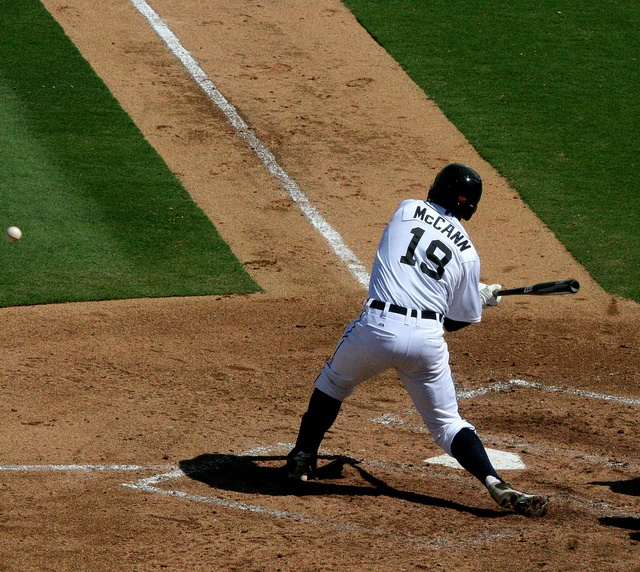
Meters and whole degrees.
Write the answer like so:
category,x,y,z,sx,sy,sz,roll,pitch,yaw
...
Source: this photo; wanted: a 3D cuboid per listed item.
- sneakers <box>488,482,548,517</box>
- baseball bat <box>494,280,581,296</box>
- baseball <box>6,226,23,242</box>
category,x,y,z,sx,sy,sz,roll,pitch,yaw
sneakers,1.850,1.970,14.470,0.694,0.240,0.188,8,68,1
baseball bat,2.302,0.009,16.483,1.254,0.119,0.164,-4,0,18
baseball,-3.598,-0.621,18.407,0.144,0.167,0.135,-43,40,2
